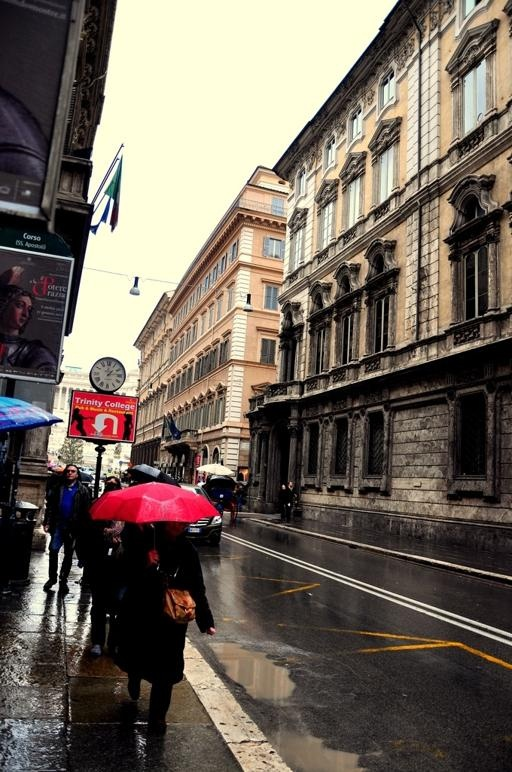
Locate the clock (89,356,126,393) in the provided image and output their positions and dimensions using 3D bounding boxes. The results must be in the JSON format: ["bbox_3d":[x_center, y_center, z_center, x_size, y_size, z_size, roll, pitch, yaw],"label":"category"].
[{"bbox_3d":[-2.637,-0.171,10.114,0.614,0.759,0.218,1,3,-19],"label":"clock"}]

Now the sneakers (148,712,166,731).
[{"bbox_3d":[-0.549,1.891,3.204,0.090,0.063,0.161,8,-10,-18],"label":"sneakers"}]

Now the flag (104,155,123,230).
[{"bbox_3d":[-4.392,-5.936,17.651,0.434,2.645,0.245,13,-18,-29],"label":"flag"}]

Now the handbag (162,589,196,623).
[{"bbox_3d":[-0.461,1.334,3.445,0.194,0.195,0.227,5,-9,-2],"label":"handbag"}]
